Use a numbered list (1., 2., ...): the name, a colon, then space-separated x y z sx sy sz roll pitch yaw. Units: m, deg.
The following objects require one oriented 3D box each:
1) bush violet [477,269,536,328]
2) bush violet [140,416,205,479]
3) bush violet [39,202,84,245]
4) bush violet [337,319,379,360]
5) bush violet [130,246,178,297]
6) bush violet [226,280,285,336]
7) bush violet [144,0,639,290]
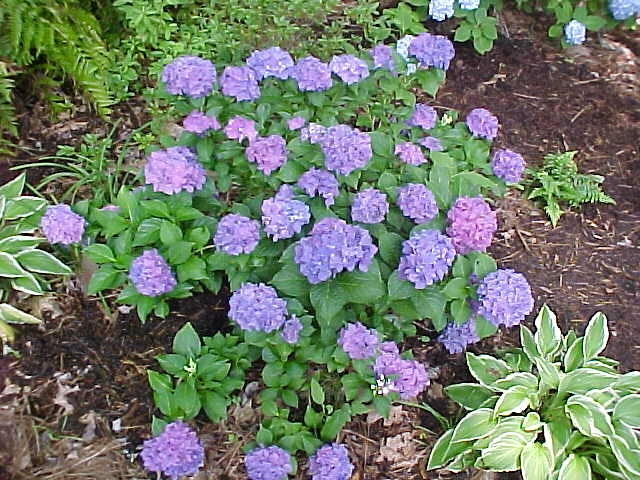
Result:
1. bush violet: 1.364 0.436 4.431 0.413 0.291 0.396 -22 70 -15
2. bush violet: -1.116 1.615 4.527 0.406 0.324 0.400 -35 74 -19
3. bush violet: -2.074 -0.123 4.859 0.340 0.146 0.331 33 77 -4
4. bush violet: 0.295 0.762 4.614 0.329 0.181 0.270 -18 82 -2
5. bush violet: -1.313 0.264 4.623 0.406 0.214 0.321 1 80 -14
6. bush violet: -0.472 0.518 4.459 0.430 0.237 0.345 34 67 10
7. bush violet: 0.372 -1.074 5.301 4.020 1.371 1.898 -21 69 -15
